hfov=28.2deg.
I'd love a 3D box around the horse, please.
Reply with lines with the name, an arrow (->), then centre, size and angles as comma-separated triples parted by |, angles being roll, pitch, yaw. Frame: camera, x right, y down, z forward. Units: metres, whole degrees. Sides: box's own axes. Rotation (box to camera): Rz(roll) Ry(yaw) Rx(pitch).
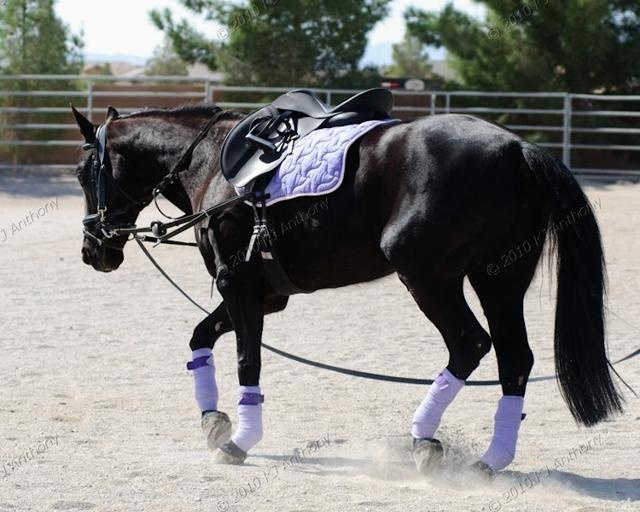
horse -> 0.134, 0.199, 11.478 | 5.767, 3.124, 1.665 | 1, -4, 32
